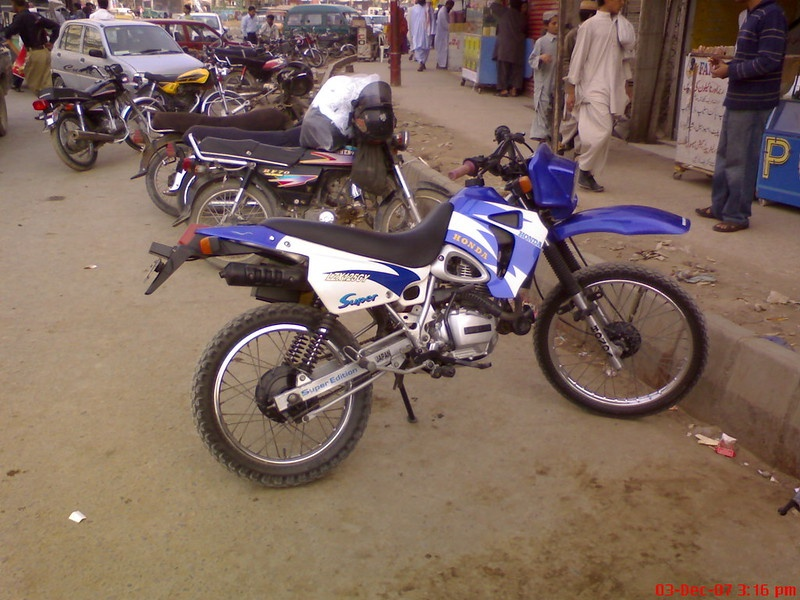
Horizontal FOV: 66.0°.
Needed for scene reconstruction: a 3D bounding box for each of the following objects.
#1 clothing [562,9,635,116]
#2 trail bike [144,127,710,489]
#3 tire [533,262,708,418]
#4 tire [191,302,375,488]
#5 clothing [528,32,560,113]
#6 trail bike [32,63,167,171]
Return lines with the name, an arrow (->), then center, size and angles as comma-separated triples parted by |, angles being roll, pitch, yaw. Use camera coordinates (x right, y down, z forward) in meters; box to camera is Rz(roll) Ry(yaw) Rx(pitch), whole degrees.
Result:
clothing -> 2.475, -2.889, 7.563 | 0.767, 1.229, 0.568 | 5, 28, 10
trail bike -> 0.925, -0.277, 4.589 | 4.798, 2.048, 1.528 | -12, 20, -10
tire -> 1.456, 0.303, 4.083 | 1.355, 1.024, 0.337 | 1, 10, 9
tire -> -0.654, 0.536, 3.423 | 1.134, 0.908, 0.292 | 9, -13, -43
clothing -> 2.642, -3.928, 10.626 | 0.685, 1.214, 0.476 | -6, 32, -4
trail bike -> -4.918, -3.077, 10.012 | 1.272, 1.520, 2.747 | 2, 25, 8
